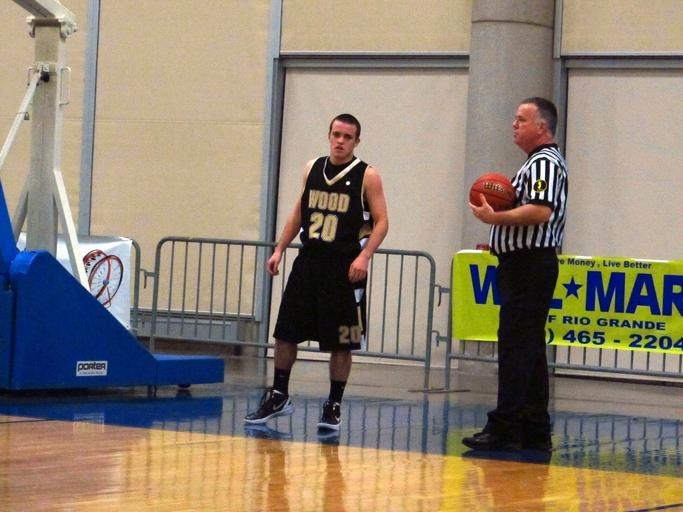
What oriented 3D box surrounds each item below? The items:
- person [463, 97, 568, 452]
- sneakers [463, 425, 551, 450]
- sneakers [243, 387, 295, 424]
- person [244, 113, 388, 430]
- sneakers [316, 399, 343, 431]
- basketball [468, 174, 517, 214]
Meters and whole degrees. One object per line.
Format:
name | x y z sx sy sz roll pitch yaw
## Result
person | 1.336 0.119 9.492 0.651 2.696 0.606 3 -5 9
sneakers | 1.221 1.397 9.504 0.679 0.274 0.247 3 -8 -3
sneakers | -0.601 1.174 10.009 0.495 0.241 0.169 -9 13 -42
person | -0.155 0.112 10.032 0.979 2.503 0.521 3 -5 2
sneakers | -0.092 1.244 9.820 0.162 0.236 0.223 2 -5 11
basketball | 1.134 -0.496 9.434 0.333 0.305 0.290 3 -5 6
